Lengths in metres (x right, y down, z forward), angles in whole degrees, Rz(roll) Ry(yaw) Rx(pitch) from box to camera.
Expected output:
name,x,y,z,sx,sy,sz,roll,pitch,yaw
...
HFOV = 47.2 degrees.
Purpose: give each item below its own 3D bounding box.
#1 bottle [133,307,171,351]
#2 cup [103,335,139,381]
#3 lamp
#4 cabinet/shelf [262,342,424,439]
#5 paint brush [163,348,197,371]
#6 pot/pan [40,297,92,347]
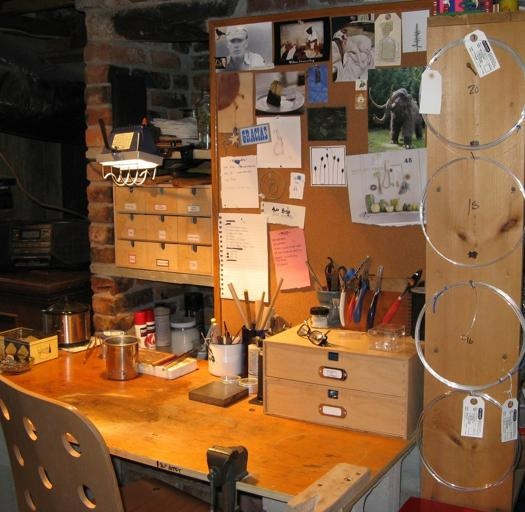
name,x,y,z,sx,sy,sz,roll,pitch,yaw
bottle,-0.486,0.321,2.634,0.077,0.172,0.191,2,5,24
cup,-0.519,0.383,2.257,0.109,0.165,0.111,2,14,0
lamp,-0.516,-0.400,2.357,0.245,0.276,0.493,-5,13,-13
cabinet/shelf,0.303,0.363,1.904,0.514,0.229,0.374,7,11,34
paint brush,-0.312,0.388,2.353,0.178,0.039,0.046,-23,-19,-38
pot/pan,-0.819,0.278,2.590,0.202,0.212,0.198,0,2,-2
